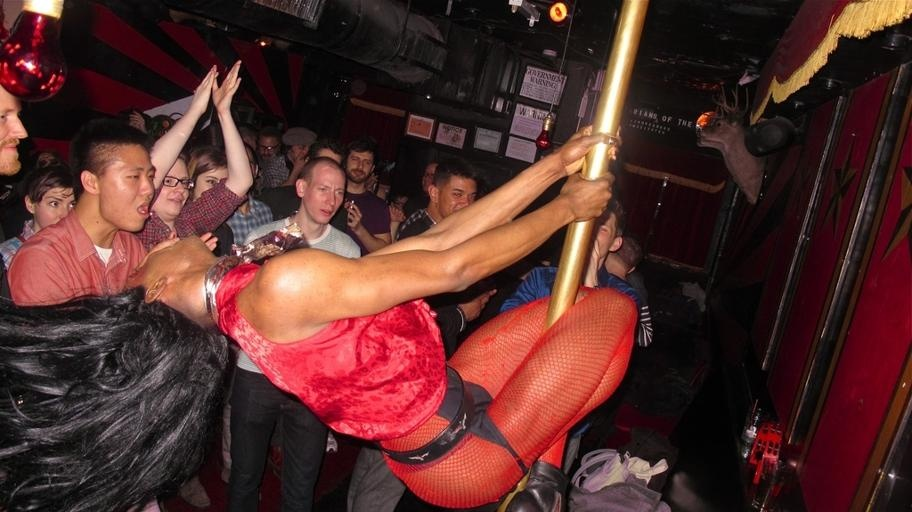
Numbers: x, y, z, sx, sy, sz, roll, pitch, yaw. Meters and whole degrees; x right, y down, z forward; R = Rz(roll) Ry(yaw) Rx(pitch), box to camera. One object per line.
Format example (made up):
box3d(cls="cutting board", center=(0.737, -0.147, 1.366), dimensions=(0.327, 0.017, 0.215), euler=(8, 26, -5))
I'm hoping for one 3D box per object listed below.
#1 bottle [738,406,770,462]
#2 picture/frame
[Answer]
box3d(cls="bottle", center=(2.923, 1.784, 5.757), dimensions=(0.360, 0.465, 0.126), euler=(20, 12, 5))
box3d(cls="picture/frame", center=(0.574, -2.321, 9.176), dimensions=(2.823, 1.872, 0.179), euler=(15, 32, 12))
